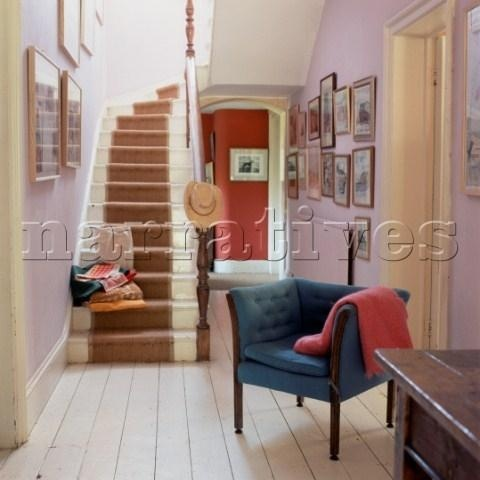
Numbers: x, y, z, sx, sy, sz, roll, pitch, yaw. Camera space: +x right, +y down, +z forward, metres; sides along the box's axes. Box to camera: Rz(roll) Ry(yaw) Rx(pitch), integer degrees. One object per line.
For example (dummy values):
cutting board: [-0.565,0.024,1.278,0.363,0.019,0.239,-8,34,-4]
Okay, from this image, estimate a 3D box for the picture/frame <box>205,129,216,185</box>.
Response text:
picture/frame: [-0.521,-1.437,7.742,0.136,0.902,0.336,-1,4,-14]

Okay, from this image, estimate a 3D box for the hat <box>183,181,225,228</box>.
hat: [-0.286,-0.267,3.423,0.226,0.419,0.115,-2,-9,-19]

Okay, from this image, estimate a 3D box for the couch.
couch: [0.425,0.456,2.386,0.834,1.070,0.726,1,2,39]

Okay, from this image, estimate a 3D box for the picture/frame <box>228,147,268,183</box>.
picture/frame: [0.111,-1.257,7.308,0.433,0.504,0.021,-1,3,-1]
